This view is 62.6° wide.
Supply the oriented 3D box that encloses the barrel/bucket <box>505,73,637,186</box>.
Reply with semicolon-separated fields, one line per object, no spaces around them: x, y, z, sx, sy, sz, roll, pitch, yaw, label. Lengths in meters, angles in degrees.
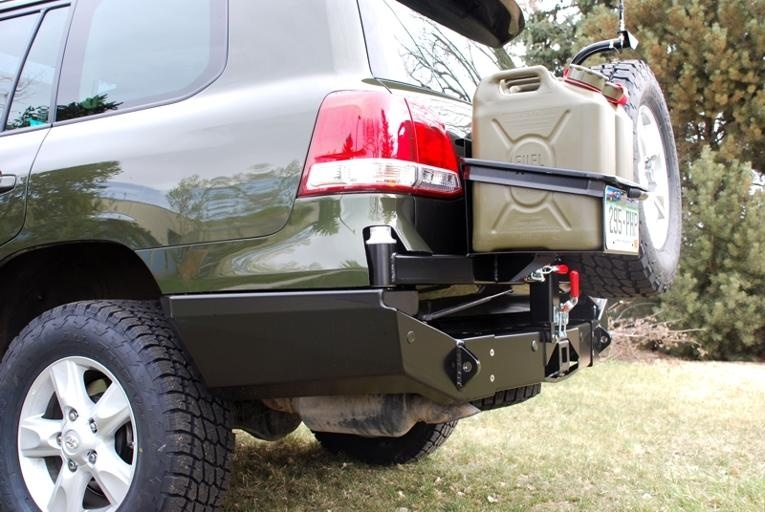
0.906;-0.571;3.097;0.517;0.547;0.525;-1;-5;0;barrel/bucket
